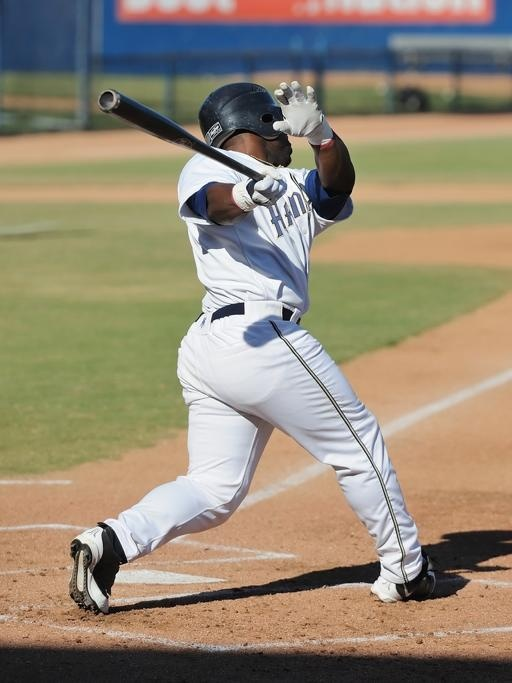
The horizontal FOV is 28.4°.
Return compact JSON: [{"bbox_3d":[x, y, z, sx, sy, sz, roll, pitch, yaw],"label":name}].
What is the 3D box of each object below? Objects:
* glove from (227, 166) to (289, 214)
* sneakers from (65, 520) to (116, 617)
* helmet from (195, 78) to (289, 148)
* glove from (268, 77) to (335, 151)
[{"bbox_3d":[0.012,-0.376,2.517,0.107,0.052,0.162,17,-3,1],"label":"glove"},{"bbox_3d":[-0.462,0.661,2.887,0.132,0.284,0.131,1,11,-9],"label":"sneakers"},{"bbox_3d":[-0.047,-0.697,3.107,0.279,0.180,0.208,-13,15,-16],"label":"helmet"},{"bbox_3d":[0.130,-0.622,2.736,0.165,0.178,0.297,3,8,3],"label":"glove"}]
